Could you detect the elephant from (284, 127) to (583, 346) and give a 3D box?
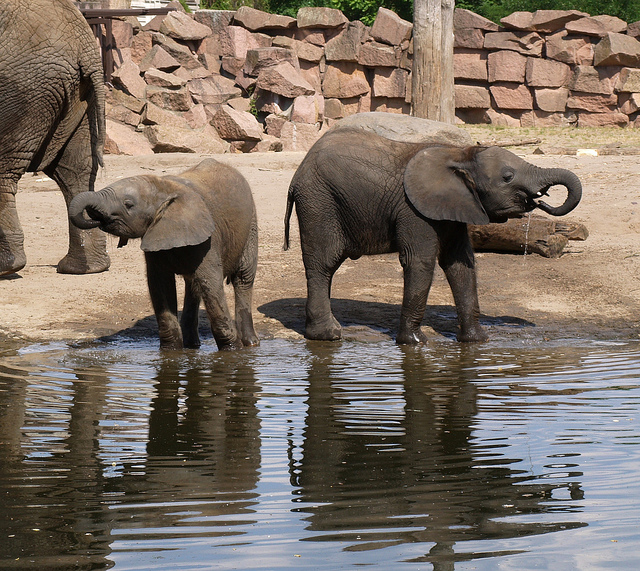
[{"bbox_3d":[1.124,-0.393,9.653,2.828,1.721,1.100,4,2,41],"label":"elephant"}]

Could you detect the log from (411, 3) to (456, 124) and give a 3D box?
[{"bbox_3d":[1.323,-2.605,13.279,0.506,1.380,0.669,2,13,4],"label":"log"}]

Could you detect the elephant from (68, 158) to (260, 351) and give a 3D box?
[{"bbox_3d":[-1.126,-0.197,8.794,0.893,1.364,2.452,-1,0,22],"label":"elephant"}]

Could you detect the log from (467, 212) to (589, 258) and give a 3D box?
[{"bbox_3d":[2.113,-0.582,12.327,0.816,0.243,0.830,7,10,32],"label":"log"}]
